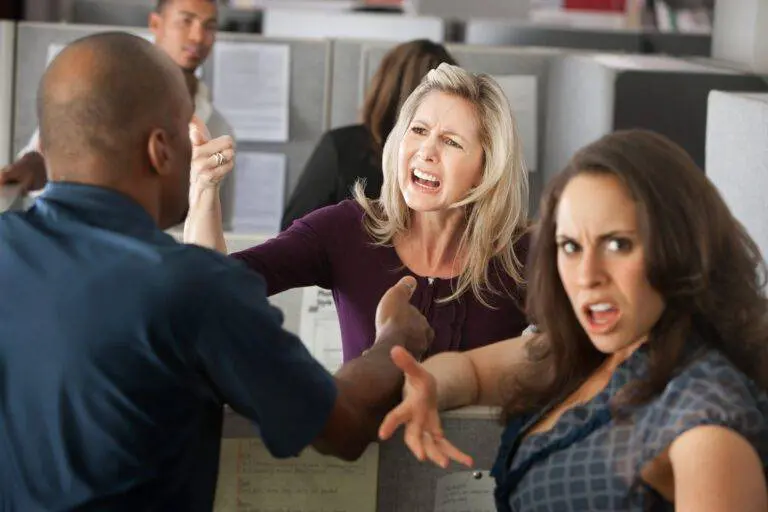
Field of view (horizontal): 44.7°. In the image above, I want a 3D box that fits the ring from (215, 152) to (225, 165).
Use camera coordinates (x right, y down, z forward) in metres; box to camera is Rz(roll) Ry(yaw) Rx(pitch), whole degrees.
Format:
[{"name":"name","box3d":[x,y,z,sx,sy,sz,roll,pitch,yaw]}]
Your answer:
[{"name":"ring","box3d":[-0.460,-0.278,2.631,0.009,0.027,0.028,1,-6,14]}]
